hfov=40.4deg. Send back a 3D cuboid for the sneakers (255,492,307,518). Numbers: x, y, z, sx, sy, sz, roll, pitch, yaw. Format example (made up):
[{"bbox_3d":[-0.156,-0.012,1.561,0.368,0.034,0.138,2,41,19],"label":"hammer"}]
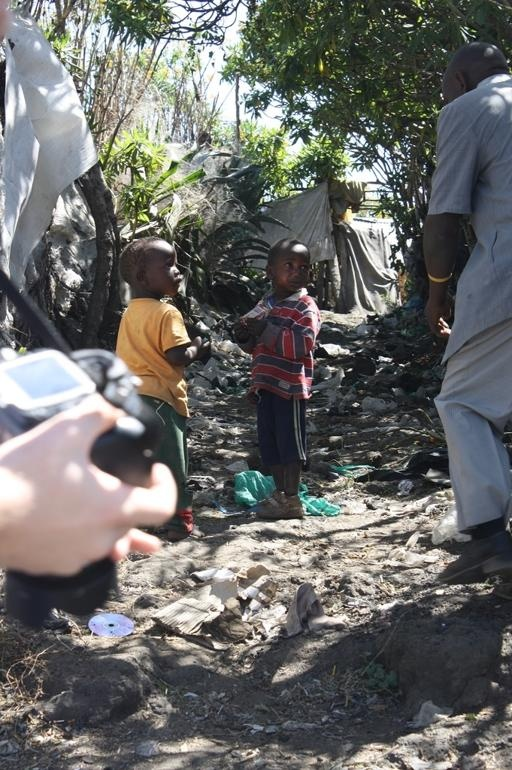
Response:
[{"bbox_3d":[0.119,0.577,3.327,0.224,0.115,0.106,4,-11,9],"label":"sneakers"}]

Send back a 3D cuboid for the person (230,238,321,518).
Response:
[{"bbox_3d":[0.105,-0.037,3.328,0.410,1.294,0.368,7,11,20],"label":"person"}]
